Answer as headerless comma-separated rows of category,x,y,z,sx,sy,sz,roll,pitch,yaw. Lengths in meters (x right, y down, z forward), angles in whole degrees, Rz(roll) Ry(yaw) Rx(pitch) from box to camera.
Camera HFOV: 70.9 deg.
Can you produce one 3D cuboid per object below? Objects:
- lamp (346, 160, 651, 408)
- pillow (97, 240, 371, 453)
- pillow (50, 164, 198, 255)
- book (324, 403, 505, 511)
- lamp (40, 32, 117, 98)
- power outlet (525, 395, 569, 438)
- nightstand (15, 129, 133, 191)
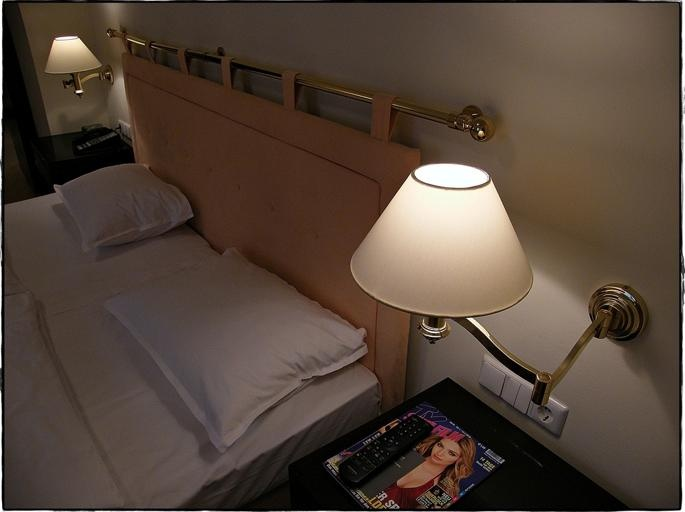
lamp,0.301,0.106,0.979,0.569,0.501,0.256,6,32,0
pillow,-0.286,0.213,1.489,0.458,0.149,0.652,-25,39,-31
pillow,-0.934,-0.255,2.093,0.440,0.143,0.411,-19,61,-33
book,0.193,0.498,1.121,0.268,0.029,0.208,-26,47,-28
lamp,-1.333,-0.997,2.534,0.304,0.320,0.245,-24,41,-36
power outlet,0.493,0.376,1.163,0.025,0.072,0.076,18,10,-22
nightstand,-1.522,-0.665,2.849,0.476,0.317,0.469,-23,44,-27
